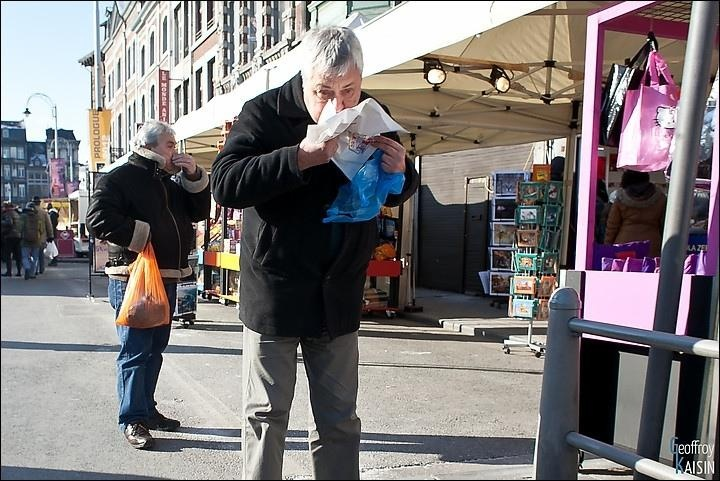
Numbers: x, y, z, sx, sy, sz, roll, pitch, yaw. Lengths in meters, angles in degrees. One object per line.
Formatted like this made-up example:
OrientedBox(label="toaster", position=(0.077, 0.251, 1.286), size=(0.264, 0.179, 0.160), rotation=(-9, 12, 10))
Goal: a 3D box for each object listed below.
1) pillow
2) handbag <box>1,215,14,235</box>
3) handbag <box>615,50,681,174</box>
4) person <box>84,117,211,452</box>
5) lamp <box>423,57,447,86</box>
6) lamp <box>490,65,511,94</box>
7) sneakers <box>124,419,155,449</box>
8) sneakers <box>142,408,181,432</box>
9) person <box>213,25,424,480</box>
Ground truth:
OrientedBox(label="pillow", position=(2.011, 0.151, 4.952), size=(0.327, 0.170, 0.452), rotation=(-4, 3, -38))
OrientedBox(label="handbag", position=(-8.599, -0.344, 15.791), size=(0.333, 0.546, 0.254), rotation=(2, 3, 17))
OrientedBox(label="handbag", position=(2.091, -0.944, 4.743), size=(0.382, 0.867, 0.279), rotation=(2, 3, 26))
OrientedBox(label="person", position=(-1.675, 0.308, 5.283), size=(0.606, 2.547, 0.899), rotation=(3, 3, 41))
OrientedBox(label="lamp", position=(0.889, -2.025, 7.858), size=(0.367, 0.244, 0.227), rotation=(-1, 3, -41))
OrientedBox(label="lamp", position=(1.744, -2.015, 8.195), size=(0.213, 0.302, 0.073), rotation=(-41, 13, -3))
OrientedBox(label="sneakers", position=(-1.703, 1.508, 5.015), size=(0.286, 0.115, 0.115), rotation=(-1, -1, 44))
OrientedBox(label="sneakers", position=(-1.620, 1.502, 5.354), size=(0.306, 0.145, 0.113), rotation=(2, -4, -7))
OrientedBox(label="person", position=(-0.363, 0.100, 3.627), size=(0.877, 2.519, 0.528), rotation=(1, 3, 2))
